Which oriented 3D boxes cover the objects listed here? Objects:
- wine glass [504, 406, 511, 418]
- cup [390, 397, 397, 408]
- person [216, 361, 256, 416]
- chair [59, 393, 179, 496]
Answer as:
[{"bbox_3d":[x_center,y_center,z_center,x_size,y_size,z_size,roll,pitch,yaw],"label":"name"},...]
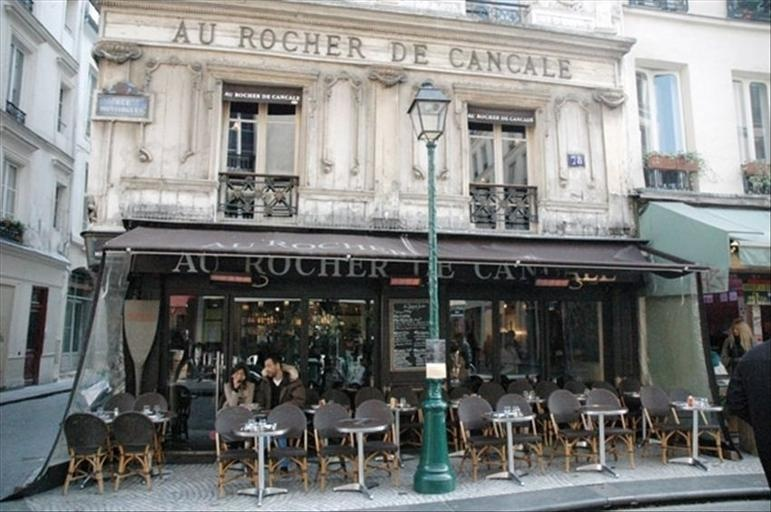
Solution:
[{"bbox_3d":[2.555,3.236,15.805,0.101,0.183,0.044,-1,-11,16],"label":"wine glass"},{"bbox_3d":[0.173,3.238,16.712,0.144,0.270,0.144,1,-3,0],"label":"cup"},{"bbox_3d":[-3.241,2.887,16.839,0.881,1.346,0.934,3,-20,-12],"label":"person"},{"bbox_3d":[-5.613,4.015,15.937,1.612,1.282,1.727,1,-6,-8],"label":"chair"}]
